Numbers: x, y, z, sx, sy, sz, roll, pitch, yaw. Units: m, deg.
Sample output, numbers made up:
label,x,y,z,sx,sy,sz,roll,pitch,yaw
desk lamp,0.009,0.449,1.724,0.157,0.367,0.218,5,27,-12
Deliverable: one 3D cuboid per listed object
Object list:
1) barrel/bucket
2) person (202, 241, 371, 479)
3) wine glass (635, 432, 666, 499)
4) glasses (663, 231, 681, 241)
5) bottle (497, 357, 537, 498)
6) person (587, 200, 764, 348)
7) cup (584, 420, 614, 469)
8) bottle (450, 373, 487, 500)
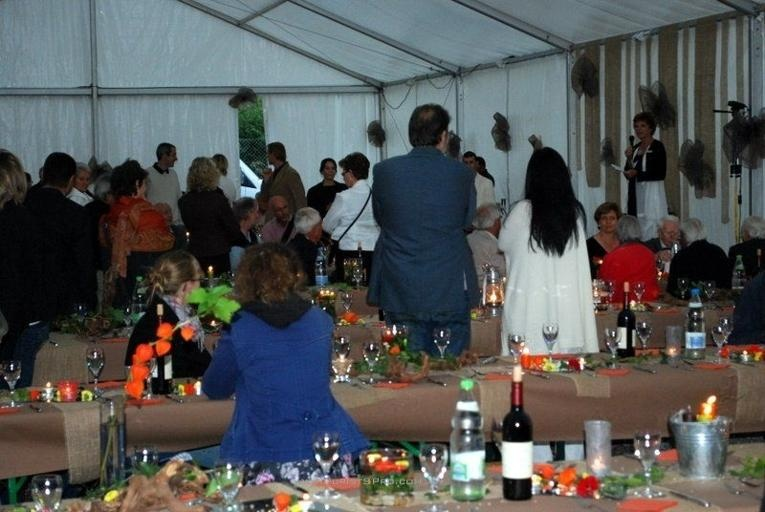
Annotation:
label,x,y,z,sx,sy,sz,roll,pitch,yaw
barrel/bucket,1.560,0.917,4.468,0.223,0.247,0.274,-1,1,1
person,-0.566,0.651,5.437,0.773,1.865,0.949,-2,32,-11
wine glass,1.303,0.996,4.504,0.119,0.313,0.391,-2,1,15
glasses,2.853,-0.201,9.047,0.102,0.070,0.145,0,-9,3
bottle,0.627,0.822,4.292,0.146,0.643,0.251,-2,0,7
person,2.622,0.137,7.943,1.032,0.808,1.157,0,1,-13
cup,1.070,0.936,4.550,0.124,0.262,0.142,-2,0,11
bottle,0.398,0.887,4.317,0.160,0.563,0.149,-2,0,0
